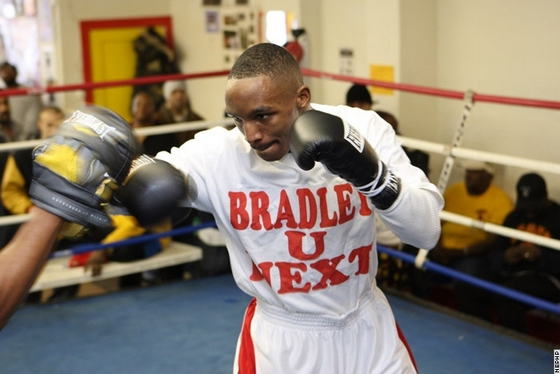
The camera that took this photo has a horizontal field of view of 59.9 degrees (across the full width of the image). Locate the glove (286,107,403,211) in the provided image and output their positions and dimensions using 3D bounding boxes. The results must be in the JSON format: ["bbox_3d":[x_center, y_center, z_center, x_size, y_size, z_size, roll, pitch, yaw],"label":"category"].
[{"bbox_3d":[0.239,-0.104,1.760,0.287,0.436,0.255,20,65,37],"label":"glove"}]

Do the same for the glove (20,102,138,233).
[{"bbox_3d":[-0.658,-0.036,1.780,0.425,0.258,0.579,-35,1,-36],"label":"glove"}]
